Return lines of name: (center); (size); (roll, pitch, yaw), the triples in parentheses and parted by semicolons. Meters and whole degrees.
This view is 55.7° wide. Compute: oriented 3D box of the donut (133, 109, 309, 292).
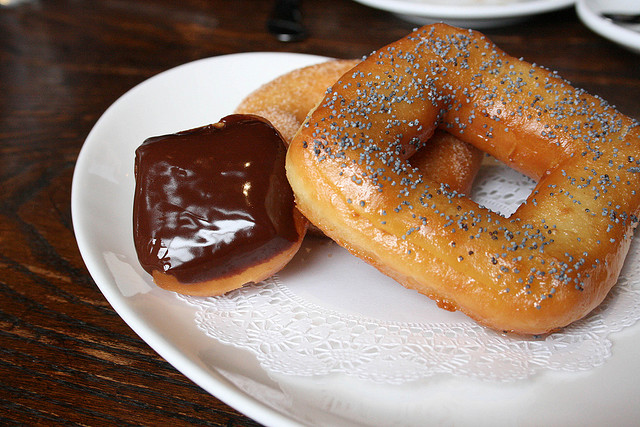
donut: (-0.218, -0.030, 1.235); (0.343, 0.113, 0.369); (-14, 65, -10)

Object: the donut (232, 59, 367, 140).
donut: (-0.058, -0.282, 1.407); (0.239, 0.071, 0.232); (-23, 34, -28)
